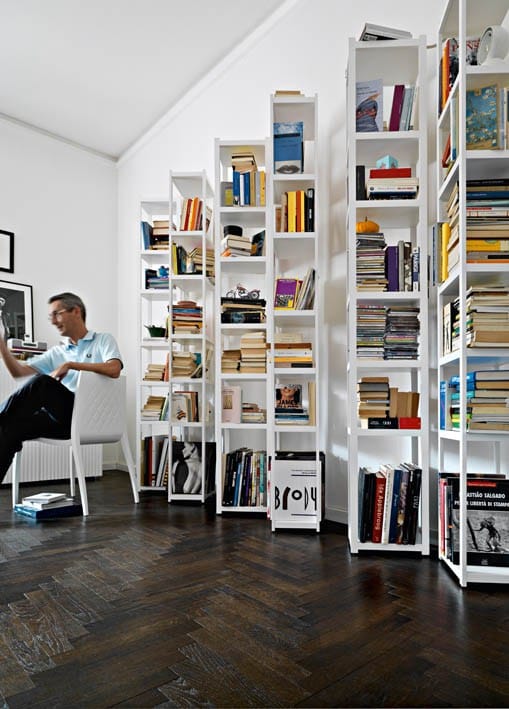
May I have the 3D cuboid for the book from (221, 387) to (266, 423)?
[{"bbox_3d":[-0.049,0.284,3.284,0.251,0.195,0.253,-1,-3,6],"label":"book"}]

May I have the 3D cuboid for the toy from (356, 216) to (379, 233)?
[{"bbox_3d":[0.483,-0.549,2.503,0.090,0.092,0.085,2,7,35],"label":"toy"}]

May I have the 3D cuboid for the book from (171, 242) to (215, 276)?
[{"bbox_3d":[-0.400,-0.586,3.626,0.177,0.086,0.251,2,0,8],"label":"book"}]

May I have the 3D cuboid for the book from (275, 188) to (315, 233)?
[{"bbox_3d":[0.221,-0.722,3.026,0.188,0.265,0.261,1,2,12],"label":"book"}]

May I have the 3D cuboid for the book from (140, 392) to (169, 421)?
[{"bbox_3d":[-0.693,0.375,3.984,0.188,0.166,0.084,0,-4,-1],"label":"book"}]

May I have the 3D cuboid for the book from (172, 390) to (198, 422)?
[{"bbox_3d":[-0.419,0.306,3.577,0.199,0.279,0.156,-1,-4,2],"label":"book"}]

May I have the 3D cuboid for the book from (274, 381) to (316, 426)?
[{"bbox_3d":[0.201,0.245,2.881,0.204,0.203,0.132,-1,-4,7],"label":"book"}]

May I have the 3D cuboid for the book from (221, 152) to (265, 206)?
[{"bbox_3d":[-0.068,-0.973,3.218,0.239,0.338,0.154,0,-4,-3],"label":"book"}]

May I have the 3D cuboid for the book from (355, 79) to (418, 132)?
[{"bbox_3d":[0.567,-1.078,2.494,0.274,0.291,0.202,0,12,2],"label":"book"}]

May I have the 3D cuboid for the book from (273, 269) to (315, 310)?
[{"bbox_3d":[0.201,-0.288,2.892,0.239,0.244,0.172,2,2,33],"label":"book"}]

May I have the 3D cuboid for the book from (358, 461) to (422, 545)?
[{"bbox_3d":[0.553,0.603,2.487,0.251,0.372,0.339,0,-1,5],"label":"book"}]

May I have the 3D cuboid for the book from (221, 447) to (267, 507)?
[{"bbox_3d":[-0.051,0.677,3.256,0.250,0.362,0.259,1,-2,4],"label":"book"}]

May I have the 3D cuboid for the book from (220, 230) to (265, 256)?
[{"bbox_3d":[-0.054,-0.596,3.257,0.170,0.112,0.176,-1,3,-25],"label":"book"}]

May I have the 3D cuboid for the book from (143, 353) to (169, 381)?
[{"bbox_3d":[-0.665,0.127,4.026,0.227,0.116,0.128,-4,-5,39],"label":"book"}]

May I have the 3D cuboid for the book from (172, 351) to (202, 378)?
[{"bbox_3d":[-0.418,0.068,3.558,0.174,0.158,0.210,0,-4,-8],"label":"book"}]

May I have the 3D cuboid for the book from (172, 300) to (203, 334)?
[{"bbox_3d":[-0.414,-0.231,3.520,0.186,0.204,0.153,1,-4,-10],"label":"book"}]

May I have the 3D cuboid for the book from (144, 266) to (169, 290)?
[{"bbox_3d":[-0.703,-0.559,4.125,0.160,0.201,0.260,1,-4,-13],"label":"book"}]

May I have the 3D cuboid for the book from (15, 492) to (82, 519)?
[{"bbox_3d":[-1.089,0.800,3.041,0.347,0.096,0.301,1,-4,-17],"label":"book"}]
